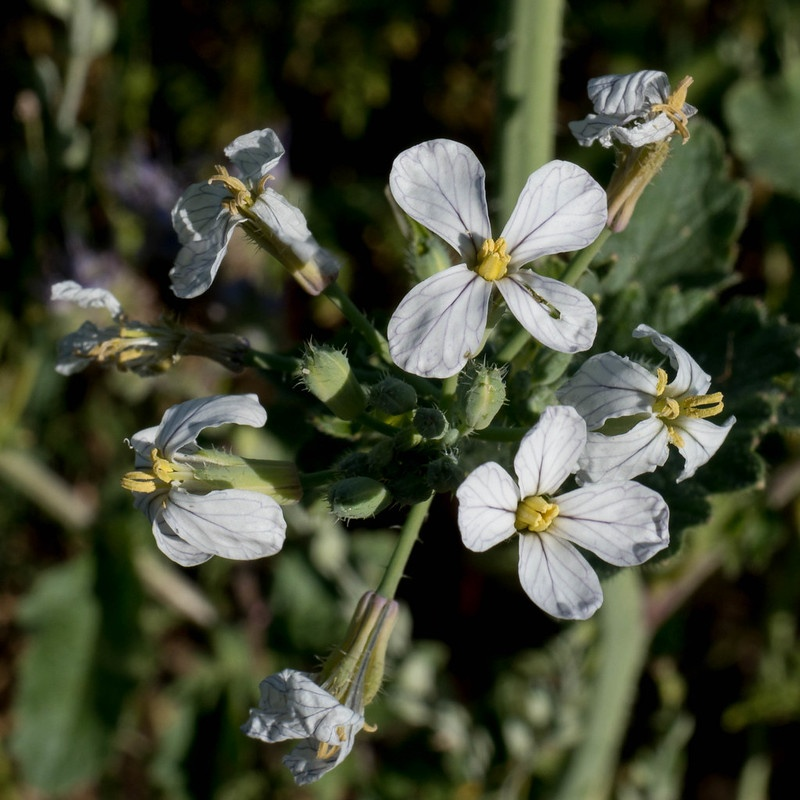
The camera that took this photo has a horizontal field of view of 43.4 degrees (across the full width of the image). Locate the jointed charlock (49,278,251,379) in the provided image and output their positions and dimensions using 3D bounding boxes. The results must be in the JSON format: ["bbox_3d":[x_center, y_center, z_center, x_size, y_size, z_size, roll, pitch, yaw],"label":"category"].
[{"bbox_3d":[-0.627,-0.128,2.567,0.429,0.158,0.267,11,62,4],"label":"jointed charlock"}]

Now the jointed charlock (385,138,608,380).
[{"bbox_3d":[0.200,-0.290,2.155,0.479,0.137,0.520,7,72,4],"label":"jointed charlock"}]

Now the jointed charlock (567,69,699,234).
[{"bbox_3d":[0.560,-0.597,2.392,0.256,0.217,0.385,11,102,-3],"label":"jointed charlock"}]

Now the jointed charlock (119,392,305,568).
[{"bbox_3d":[-0.442,0.196,2.242,0.344,0.186,0.402,-13,71,-3],"label":"jointed charlock"}]

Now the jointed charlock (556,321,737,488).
[{"bbox_3d":[0.497,0.015,2.198,0.354,0.137,0.356,45,78,-18],"label":"jointed charlock"}]

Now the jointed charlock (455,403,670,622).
[{"bbox_3d":[0.324,0.225,2.158,0.413,0.502,0.202,-45,42,-8],"label":"jointed charlock"}]

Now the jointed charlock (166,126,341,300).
[{"bbox_3d":[-0.370,-0.427,2.379,0.397,0.284,0.349,-13,71,-3],"label":"jointed charlock"}]

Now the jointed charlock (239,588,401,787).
[{"bbox_3d":[-0.176,0.639,2.308,0.261,0.196,0.488,28,64,-6],"label":"jointed charlock"}]
